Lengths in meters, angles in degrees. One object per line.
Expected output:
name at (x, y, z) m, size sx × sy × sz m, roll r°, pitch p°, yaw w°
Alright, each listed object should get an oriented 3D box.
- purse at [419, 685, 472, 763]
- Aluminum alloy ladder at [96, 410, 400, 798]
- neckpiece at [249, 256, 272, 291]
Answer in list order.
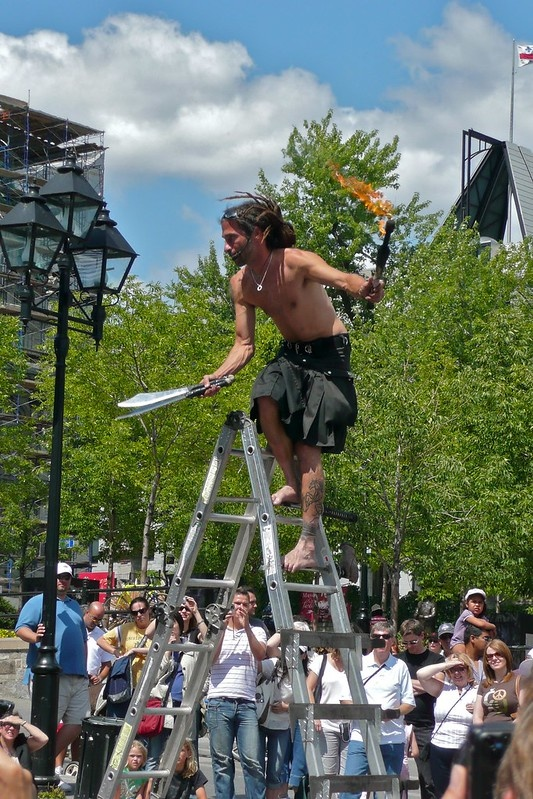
purse at (1.416, 2.394, 10.487) m, size 0.321 × 0.326 × 0.417 m, roll 3°, pitch 2°, yaw 8°
Aluminum alloy ladder at (-0.071, 1.274, 7.945) m, size 1.091 × 2.381 × 1.717 m, roll 2°, pitch 2°, yaw -42°
neckpiece at (-0.038, -0.744, 8.101) m, size 0.136 × 0.221 × 0.066 m, roll 4°, pitch 2°, yaw 10°
